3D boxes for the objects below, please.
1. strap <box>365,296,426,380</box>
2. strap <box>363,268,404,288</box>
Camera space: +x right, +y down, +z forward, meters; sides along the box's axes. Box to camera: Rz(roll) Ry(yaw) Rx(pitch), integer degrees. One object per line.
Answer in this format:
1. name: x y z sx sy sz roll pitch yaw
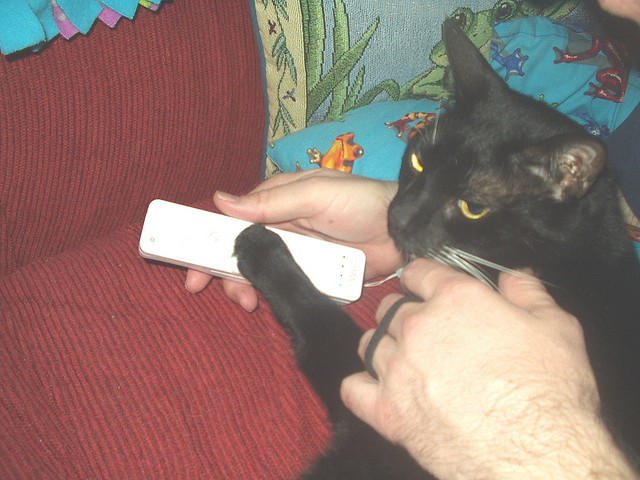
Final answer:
1. strap: 0.123 0.159 1.015 0.094 0.039 0.138 22 84 16
2. strap: 0.134 0.079 1.281 0.066 0.011 0.012 -28 36 13
